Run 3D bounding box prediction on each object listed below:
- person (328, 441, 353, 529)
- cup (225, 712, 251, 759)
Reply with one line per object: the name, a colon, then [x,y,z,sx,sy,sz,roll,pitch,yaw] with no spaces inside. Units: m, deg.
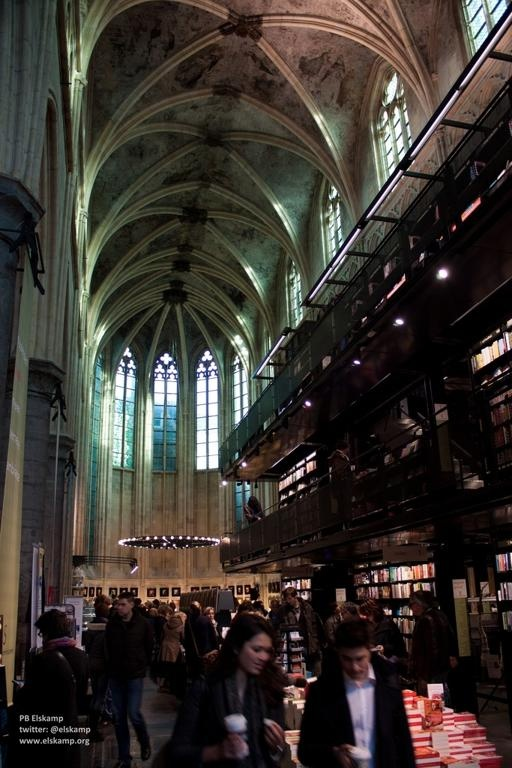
person: [1.401,1.623,9.747,0.261,1.180,0.253,-15,-21,40]
cup: [-0.051,0.897,1.478,0.058,0.115,0.158,-3,-17,-2]
